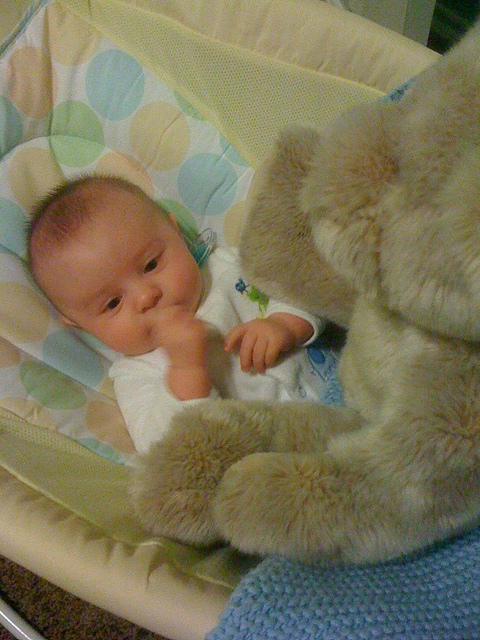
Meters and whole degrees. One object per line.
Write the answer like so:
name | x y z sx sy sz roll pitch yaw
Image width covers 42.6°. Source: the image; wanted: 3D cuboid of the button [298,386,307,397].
button | 0.092 0.108 0.918 0.015 0.003 0.013 -15 73 -44
